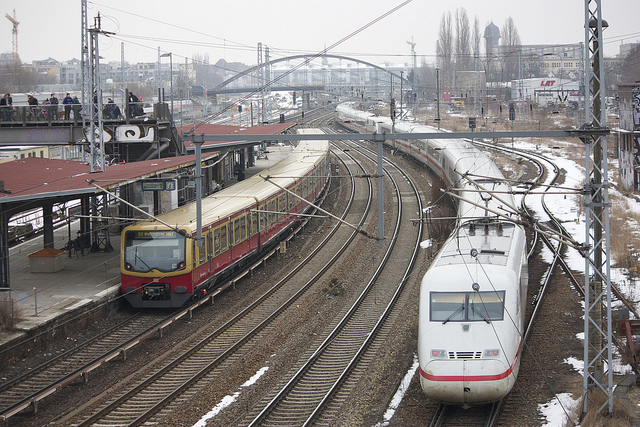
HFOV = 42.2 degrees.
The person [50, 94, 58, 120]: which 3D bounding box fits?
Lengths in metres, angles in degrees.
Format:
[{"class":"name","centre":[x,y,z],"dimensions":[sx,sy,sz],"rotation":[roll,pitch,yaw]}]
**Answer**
[{"class":"person","centre":[-14.072,-5.691,44.247],"dimensions":[0.305,1.051,1.927],"rotation":[-5,14,-17]}]

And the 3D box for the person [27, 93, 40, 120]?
[{"class":"person","centre":[-15.092,-5.688,43.960],"dimensions":[0.552,1.080,1.918],"rotation":[-5,14,-19]}]

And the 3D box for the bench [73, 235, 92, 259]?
[{"class":"bench","centre":[-11.871,1.506,42.029],"dimensions":[0.690,1.076,0.717],"rotation":[-2,-2,17]}]
